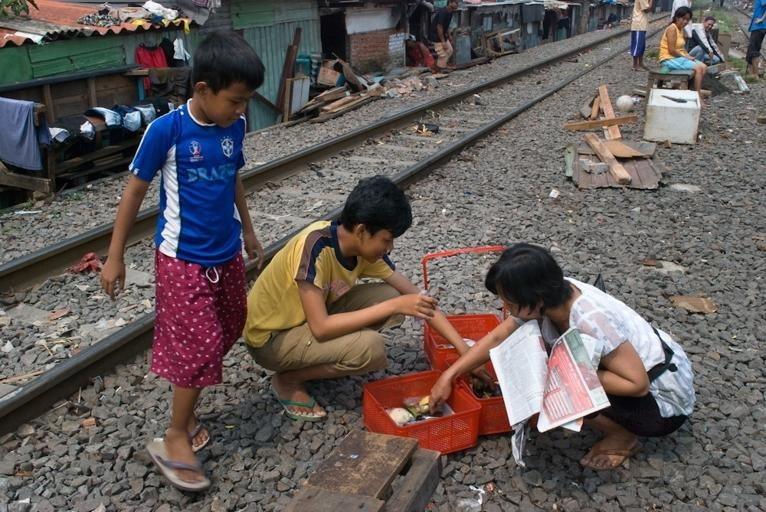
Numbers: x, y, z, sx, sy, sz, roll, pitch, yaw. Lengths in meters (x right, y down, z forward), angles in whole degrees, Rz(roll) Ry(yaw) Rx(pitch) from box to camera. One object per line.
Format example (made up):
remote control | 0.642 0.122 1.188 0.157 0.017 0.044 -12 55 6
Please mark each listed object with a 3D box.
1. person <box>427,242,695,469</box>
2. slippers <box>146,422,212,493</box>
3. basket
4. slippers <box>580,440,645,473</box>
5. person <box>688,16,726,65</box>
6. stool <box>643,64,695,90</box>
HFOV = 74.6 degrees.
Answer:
person | 1.022 0.308 3.356 1.553 1.494 0.963 -17 26 10
slippers | -1.145 1.172 2.836 0.458 0.127 0.216 29 42 27
basket | 0.365 0.752 3.417 1.144 0.734 1.184 -1 35 6
slippers | 1.319 1.180 3.028 0.412 0.184 0.141 -5 56 -4
person | 8.444 -5.694 13.154 0.665 1.006 0.839 -31 42 -13
stool | 6.261 -3.889 10.947 0.818 0.790 0.828 11 30 27
